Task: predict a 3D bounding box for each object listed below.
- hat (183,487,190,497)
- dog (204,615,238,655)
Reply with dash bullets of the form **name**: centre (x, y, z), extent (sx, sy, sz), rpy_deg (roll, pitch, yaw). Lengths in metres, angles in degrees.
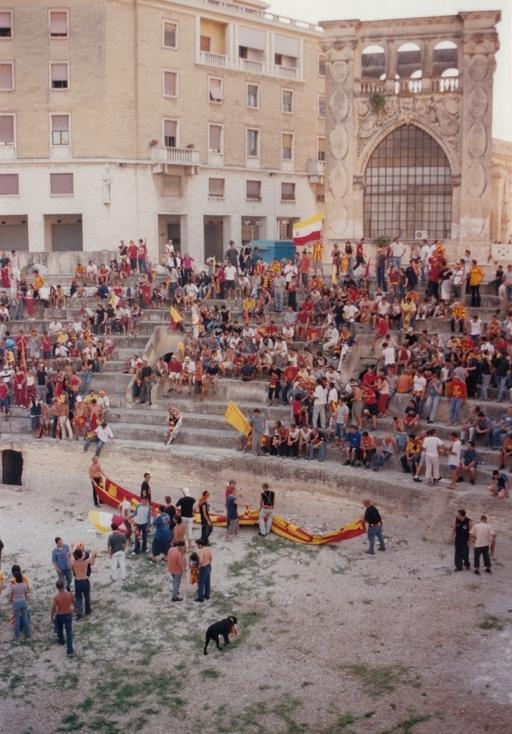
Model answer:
- **hat**: centre (-1.550, 2.784, 23.561), extent (0.162, 0.200, 0.187), rpy_deg (-4, 20, -28)
- **dog**: centre (-0.671, 4.904, 19.306), extent (0.594, 0.647, 0.752), rpy_deg (1, 3, -6)
